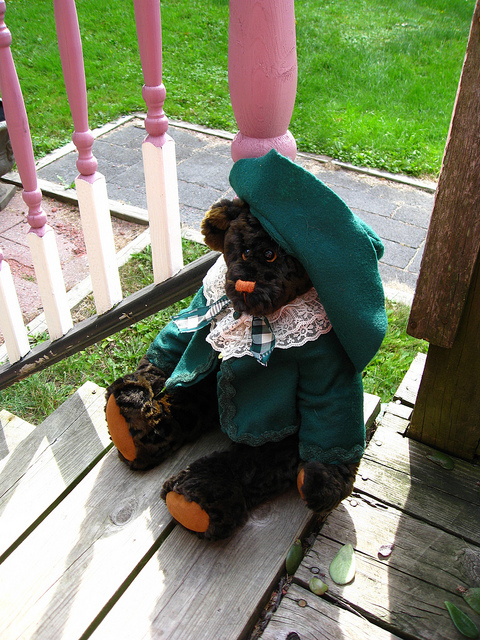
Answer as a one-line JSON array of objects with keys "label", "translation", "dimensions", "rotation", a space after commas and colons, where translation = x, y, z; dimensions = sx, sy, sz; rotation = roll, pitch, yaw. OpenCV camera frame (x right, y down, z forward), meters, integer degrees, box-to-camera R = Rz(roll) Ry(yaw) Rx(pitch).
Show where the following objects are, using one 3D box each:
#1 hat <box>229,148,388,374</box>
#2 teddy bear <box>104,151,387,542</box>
[{"label": "hat", "translation": [0.150, -0.149, 1.247], "dimensions": [0.166, 0.461, 0.437], "rotation": [-27, 42, -30]}, {"label": "teddy bear", "translation": [-0.014, 0.057, 1.382], "dimensions": [0.686, 0.852, 0.732], "rotation": [-5, 35, -7]}]
